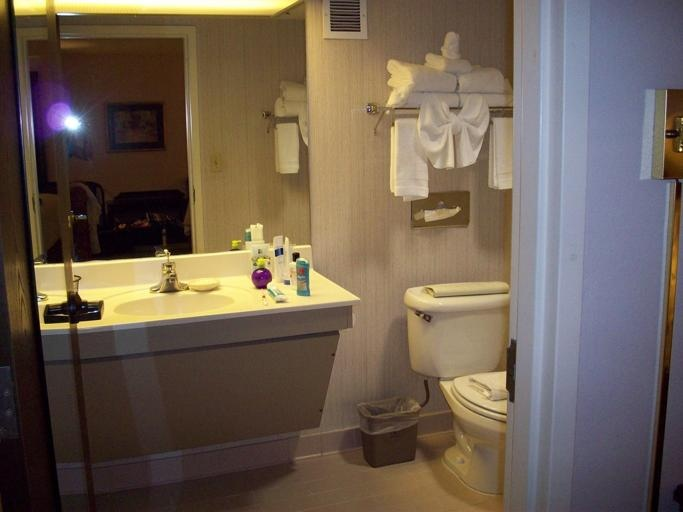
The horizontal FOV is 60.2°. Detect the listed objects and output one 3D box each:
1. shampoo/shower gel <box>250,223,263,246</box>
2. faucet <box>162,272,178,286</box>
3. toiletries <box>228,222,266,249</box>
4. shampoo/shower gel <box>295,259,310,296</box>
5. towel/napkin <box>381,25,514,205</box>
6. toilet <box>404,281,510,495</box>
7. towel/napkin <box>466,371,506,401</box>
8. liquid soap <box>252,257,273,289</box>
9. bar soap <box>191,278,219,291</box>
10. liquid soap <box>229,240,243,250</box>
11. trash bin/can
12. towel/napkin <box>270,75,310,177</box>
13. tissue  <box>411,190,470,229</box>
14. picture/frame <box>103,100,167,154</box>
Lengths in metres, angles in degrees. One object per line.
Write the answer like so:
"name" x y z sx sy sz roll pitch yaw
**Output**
"shampoo/shower gel" -0.401 -0.099 2.778 0.076 0.155 0.080 -1 13 -9
"faucet" -0.747 0.099 2.559 0.049 0.051 0.084 4 1 43
"toiletries" -0.446 -0.095 2.741 0.157 0.199 0.098 -2 7 -16
"shampoo/shower gel" -0.174 0.094 2.504 0.045 0.145 0.087 -10 16 -37
"towel/napkin" 0.529 -0.668 2.828 0.622 0.759 0.315 0 12 0
"toilet" 0.606 0.593 2.787 0.500 0.992 0.497 -1 13 -16
"towel/napkin" 0.676 0.583 2.679 0.161 0.050 0.165 -3 13 -24
"liquid soap" -0.370 0.070 2.695 0.090 0.122 0.192 -2 13 -8
"bar soap" -0.609 0.133 2.601 0.131 0.042 0.071 -4 14 -15
"liquid soap" -0.492 -0.050 2.740 0.050 0.059 0.035 -3 8 -24
"trash bin/can" 0.218 0.843 3.003 0.295 0.307 0.317 -2 5 -13
"towel/napkin" -0.244 -0.603 2.796 0.162 0.420 0.065 -2 12 -8
"tissue " 0.521 -0.233 3.061 0.276 0.210 0.076 2 13 -18
"picture/frame" -0.904 -0.568 2.574 0.259 0.210 0.029 0 11 -25
